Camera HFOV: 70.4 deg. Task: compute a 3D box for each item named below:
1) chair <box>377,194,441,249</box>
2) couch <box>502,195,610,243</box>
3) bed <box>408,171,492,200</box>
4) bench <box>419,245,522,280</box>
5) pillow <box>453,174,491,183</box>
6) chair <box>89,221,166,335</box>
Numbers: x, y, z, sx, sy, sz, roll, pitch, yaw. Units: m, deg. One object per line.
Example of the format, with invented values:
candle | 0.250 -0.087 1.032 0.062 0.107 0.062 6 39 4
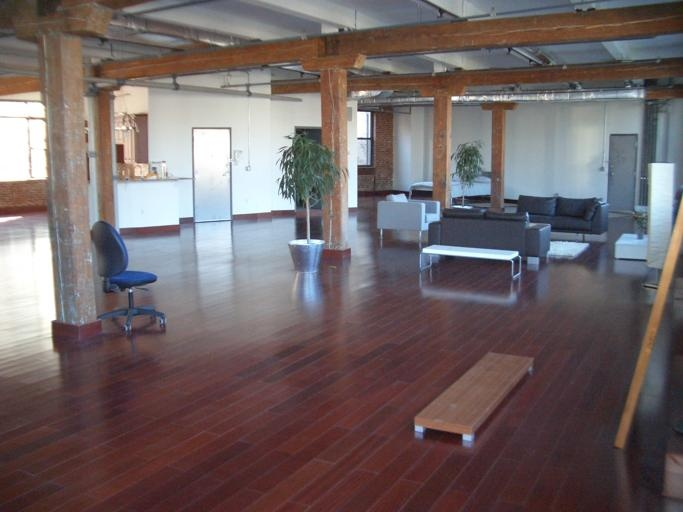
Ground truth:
chair | 1.748 -0.961 12.338 1.328 1.057 1.362 5 11 23
couch | 5.458 -1.066 12.411 2.176 0.886 0.911 7 14 30
bed | 5.214 -3.053 21.251 3.097 1.210 1.942 -1 3 -37
bench | 2.344 -0.045 8.657 2.073 0.521 0.658 6 19 25
pillow | 5.861 -3.482 21.473 1.410 0.561 0.836 1 8 15
chair | -2.632 0.238 6.124 0.833 1.237 0.829 6 7 33
